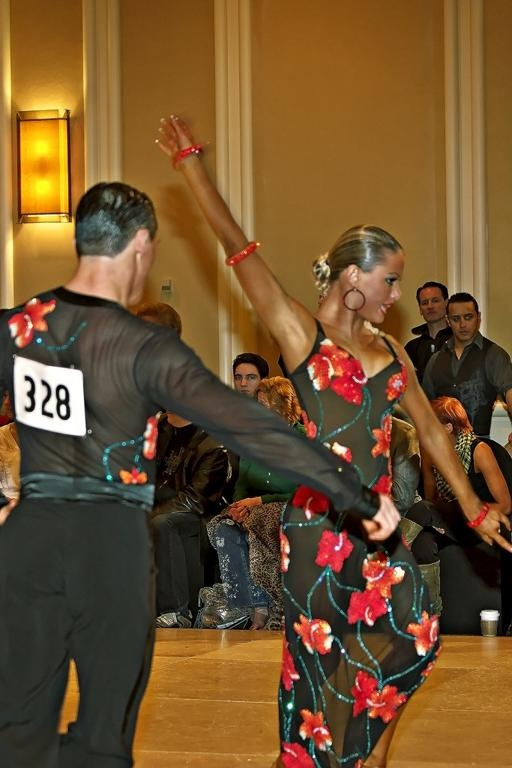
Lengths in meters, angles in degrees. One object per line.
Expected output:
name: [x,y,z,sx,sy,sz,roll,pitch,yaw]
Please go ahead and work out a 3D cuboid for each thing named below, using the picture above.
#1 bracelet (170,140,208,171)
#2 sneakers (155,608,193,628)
bracelet: [-0.159,-0.533,1.485,0.070,0.022,0.056,-19,-4,22]
sneakers: [-0.543,1.538,4.172,0.136,0.064,0.187,0,-3,20]
